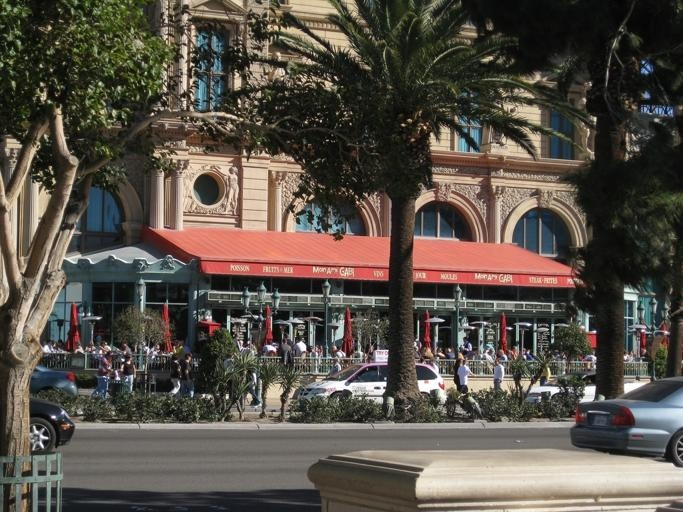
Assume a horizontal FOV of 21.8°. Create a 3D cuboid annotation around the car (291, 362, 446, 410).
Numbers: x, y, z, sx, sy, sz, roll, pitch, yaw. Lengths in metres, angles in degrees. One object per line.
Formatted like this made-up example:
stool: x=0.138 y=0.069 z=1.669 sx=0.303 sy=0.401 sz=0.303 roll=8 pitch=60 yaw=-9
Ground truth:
car: x=0.899 y=3.591 z=49.228 sx=3.061 sy=1.260 sz=1.735 roll=4 pitch=-8 yaw=-15
